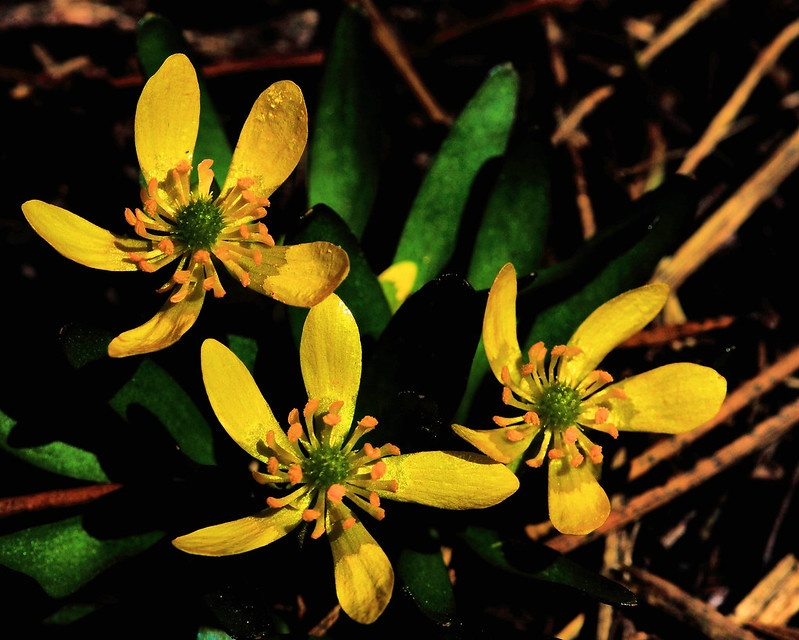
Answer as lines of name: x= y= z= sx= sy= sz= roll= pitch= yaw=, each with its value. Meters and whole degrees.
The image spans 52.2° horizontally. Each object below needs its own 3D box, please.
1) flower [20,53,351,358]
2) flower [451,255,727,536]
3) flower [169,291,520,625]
flower: x=-0.365 y=-0.258 z=1.564 sx=0.657 sy=0.224 sz=0.576 roll=-13 pitch=8 yaw=38
flower: x=0.291 y=0.144 z=1.370 sx=0.451 sy=0.205 sz=0.602 roll=16 pitch=38 yaw=1
flower: x=-0.158 y=0.230 z=1.410 sx=0.206 sy=0.575 sz=0.614 roll=40 pitch=85 yaw=-4
